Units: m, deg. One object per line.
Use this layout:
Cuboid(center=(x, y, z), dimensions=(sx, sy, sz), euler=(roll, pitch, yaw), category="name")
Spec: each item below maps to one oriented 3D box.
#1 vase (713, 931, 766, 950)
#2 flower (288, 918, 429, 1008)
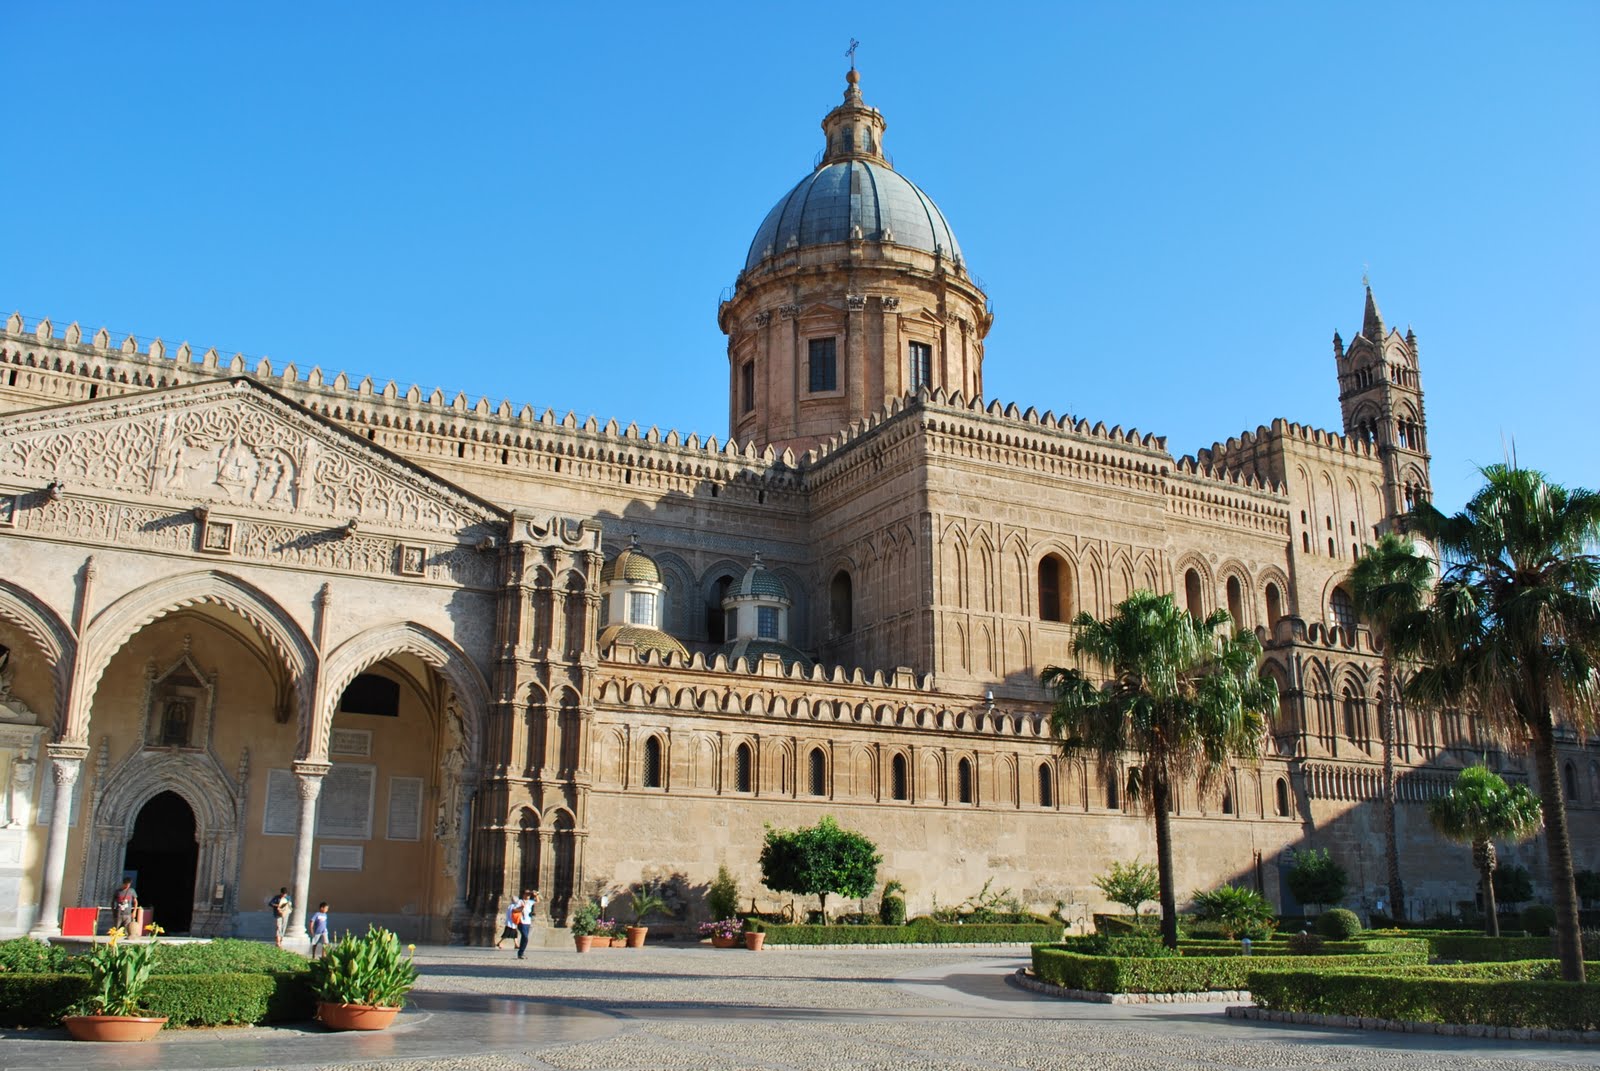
Cuboid(center=(-1.707, 11.282, 45.078), dimensions=(1.647, 0.594, 0.472), euler=(-17, -25, 39), category="vase")
Cuboid(center=(-8.075, 8.026, 30.454), dimensions=(1.643, 1.171, 1.695), euler=(3, -19, -3), category="flower")
